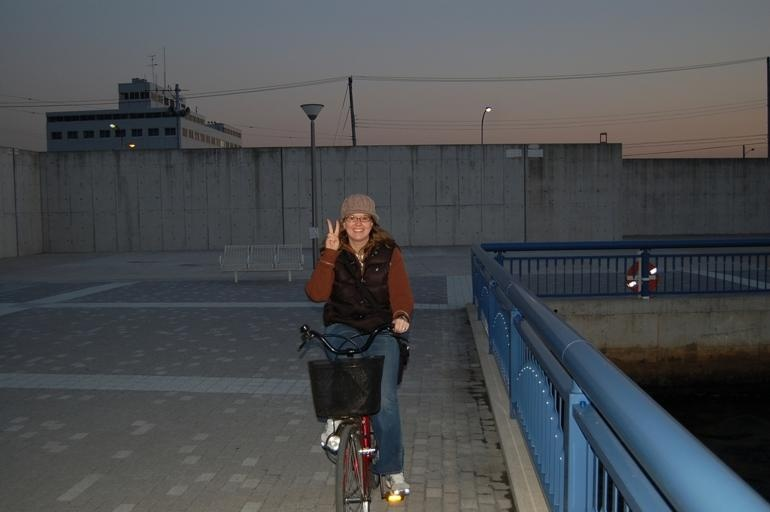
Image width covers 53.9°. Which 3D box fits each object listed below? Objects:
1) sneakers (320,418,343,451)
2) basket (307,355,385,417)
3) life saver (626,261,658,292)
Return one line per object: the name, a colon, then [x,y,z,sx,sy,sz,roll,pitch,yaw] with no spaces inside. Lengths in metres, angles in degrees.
sneakers: [-0.548,1.850,7.781,0.225,0.168,0.363,9,46,-14]
basket: [-0.380,1.263,7.427,0.930,0.664,0.534,-3,-8,-5]
life saver: [4.923,0.430,14.712,0.670,0.669,0.190,-12,12,-36]
